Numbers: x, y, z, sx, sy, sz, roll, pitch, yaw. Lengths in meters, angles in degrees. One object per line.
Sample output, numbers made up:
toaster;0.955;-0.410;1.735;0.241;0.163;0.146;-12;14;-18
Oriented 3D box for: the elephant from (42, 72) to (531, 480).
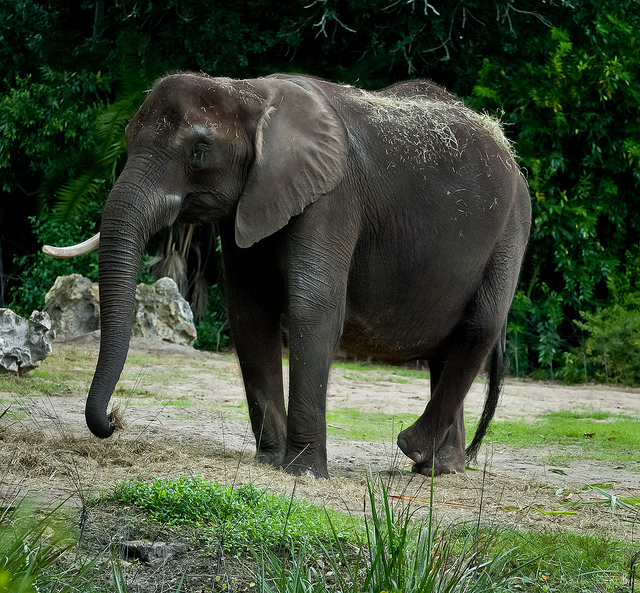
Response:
elephant;-0.054;-0.103;6.958;3.682;3.069;1.703;0;7;-27
